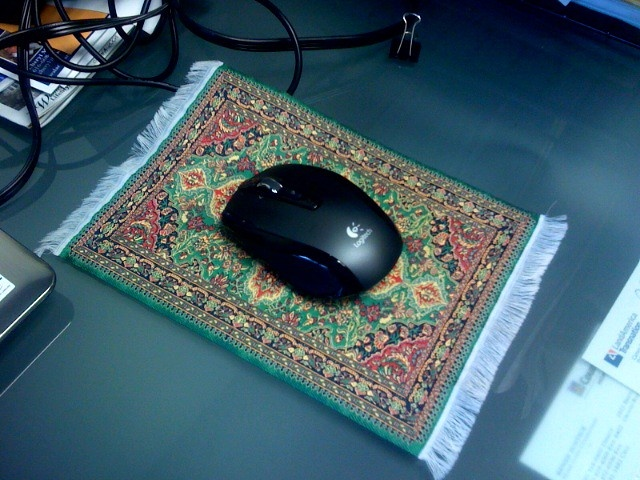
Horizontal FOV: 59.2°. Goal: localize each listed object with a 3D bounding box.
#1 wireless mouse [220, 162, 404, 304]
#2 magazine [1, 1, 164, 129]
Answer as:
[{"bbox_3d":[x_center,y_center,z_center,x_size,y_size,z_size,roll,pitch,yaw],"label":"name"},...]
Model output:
[{"bbox_3d":[-0.006,-0.015,0.699,0.206,0.081,0.125,38,50,15],"label":"wireless mouse"},{"bbox_3d":[-0.355,-0.254,0.880,0.245,0.035,0.151,-41,89,-18],"label":"magazine"}]
